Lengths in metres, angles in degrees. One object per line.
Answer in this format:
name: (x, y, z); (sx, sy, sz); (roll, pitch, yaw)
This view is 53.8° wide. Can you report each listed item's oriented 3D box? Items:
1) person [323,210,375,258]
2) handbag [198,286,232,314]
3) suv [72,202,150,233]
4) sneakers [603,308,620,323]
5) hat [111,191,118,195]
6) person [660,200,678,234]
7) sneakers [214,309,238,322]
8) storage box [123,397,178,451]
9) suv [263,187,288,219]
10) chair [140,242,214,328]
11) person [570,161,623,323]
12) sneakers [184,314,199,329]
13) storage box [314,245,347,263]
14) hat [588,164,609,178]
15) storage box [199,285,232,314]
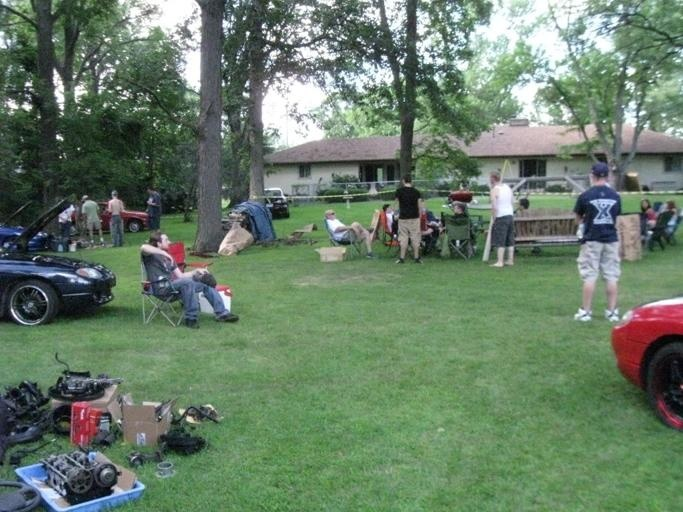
person: (0.154, -0.562, 17.305); (1.157, 1.221, 0.818); (-5, 6, -34)
handbag: (-2.171, 0.751, 11.425); (0.669, 0.511, 0.450); (0, 0, 29)
suv: (-10.498, -1.644, 30.477); (3.035, 1.333, 1.776); (1, 2, 2)
sneakers: (4.061, 0.900, 10.129); (0.173, 0.177, 0.240); (-2, -5, 14)
hat: (-7.260, -2.026, 21.381); (0.248, 0.117, 0.348); (-1, 3, -16)
person: (8.751, -1.029, 18.036); (0.449, 0.345, 1.113); (-8, -42, 25)
sneakers: (-1.897, 0.997, 10.952); (0.338, 0.164, 0.146); (-2, 4, 10)
storage box: (-2.140, 1.849, 7.515); (0.328, 0.420, 0.615); (0, -4, 2)
suv: (-3.111, -2.480, 31.780); (1.008, 0.979, 1.989); (-2, 0, -3)
chair: (-2.758, 0.386, 10.955); (0.939, 1.686, 0.917); (-8, -10, 4)
person: (3.826, -0.209, 10.100); (0.655, 2.398, 0.594); (1, 5, 21)
sneakers: (-2.419, 1.035, 10.722); (0.239, 0.192, 0.369); (-3, 5, -14)
storage box: (-0.255, -0.050, 16.994); (0.652, 0.353, 0.608); (-2, 4, -9)
hat: (3.782, -1.287, 9.873); (0.205, 0.166, 0.280); (3, 20, 18)
storage box: (-2.152, 0.729, 11.471); (0.652, 0.564, 0.445); (0, 0, 25)
